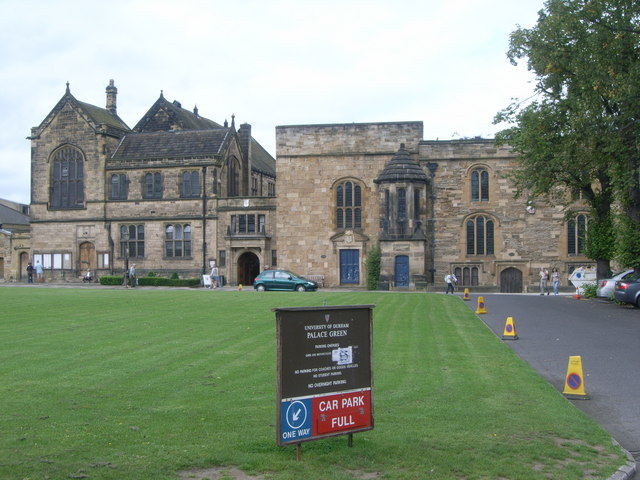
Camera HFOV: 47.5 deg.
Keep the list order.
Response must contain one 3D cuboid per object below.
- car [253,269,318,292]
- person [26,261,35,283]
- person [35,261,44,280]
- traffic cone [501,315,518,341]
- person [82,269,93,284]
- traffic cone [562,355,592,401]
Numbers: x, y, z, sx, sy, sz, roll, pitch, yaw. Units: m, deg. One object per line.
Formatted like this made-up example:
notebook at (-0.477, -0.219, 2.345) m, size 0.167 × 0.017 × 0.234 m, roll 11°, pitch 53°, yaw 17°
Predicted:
car at (-2.153, 2.552, 44.821) m, size 2.927 × 1.031 × 1.638 m, roll -1°, pitch -1°, yaw 7°
person at (-22.906, 2.566, 57.690) m, size 0.488 × 1.557 × 2.421 m, roll -1°, pitch 4°, yaw -21°
person at (-22.500, 2.415, 58.258) m, size 0.566 × 1.593 × 1.092 m, roll -1°, pitch 4°, yaw -22°
traffic cone at (5.674, 2.644, 21.931) m, size 0.652 × 0.752 × 0.653 m, roll 0°, pitch -3°, yaw 6°
person at (-18.126, 2.833, 56.442) m, size 0.616 × 0.806 × 1.355 m, roll 0°, pitch -3°, yaw -10°
traffic cone at (5.345, 2.878, 15.229) m, size 0.676 × 0.823 × 0.573 m, roll -3°, pitch -9°, yaw 25°
